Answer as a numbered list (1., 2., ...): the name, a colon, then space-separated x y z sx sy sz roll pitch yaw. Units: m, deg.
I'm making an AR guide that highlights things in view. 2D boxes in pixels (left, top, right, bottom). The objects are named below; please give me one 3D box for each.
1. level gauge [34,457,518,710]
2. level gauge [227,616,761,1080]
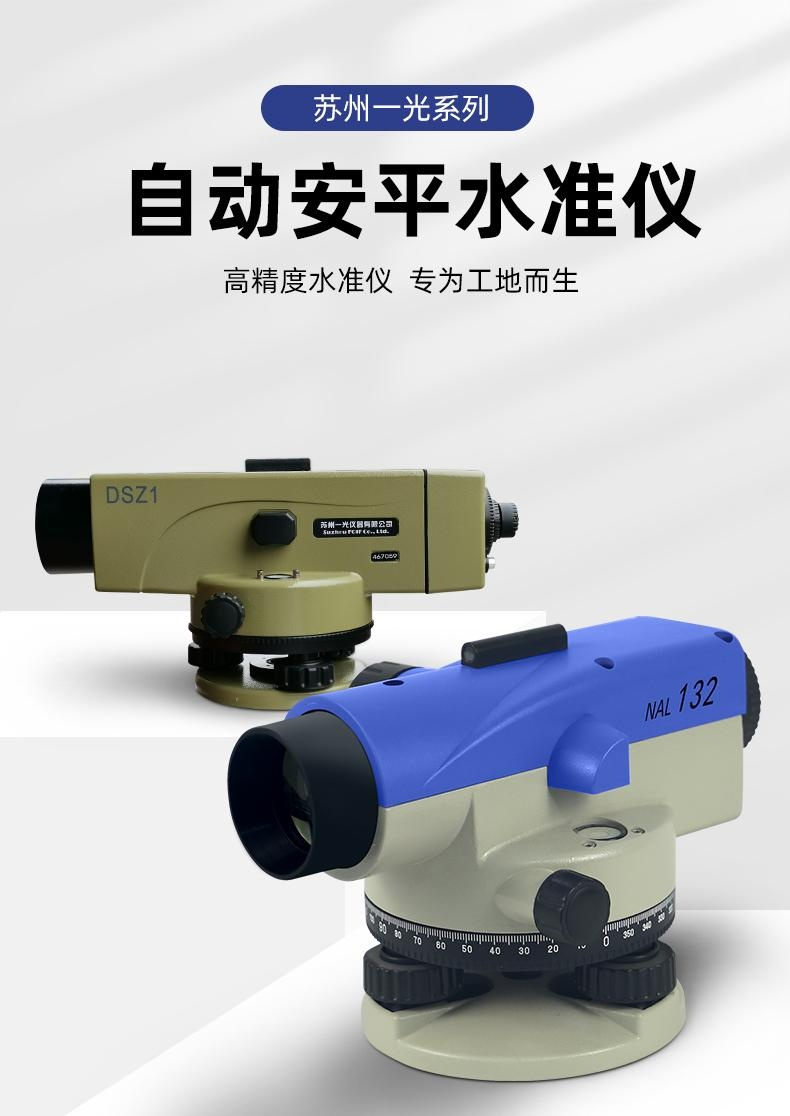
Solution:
1. level gauge: -0.161 0.032 1.737 0.765 0.355 0.272 0 9 9
2. level gauge: 0.075 0.225 0.977 0.470 0.292 0.316 -5 5 -37
